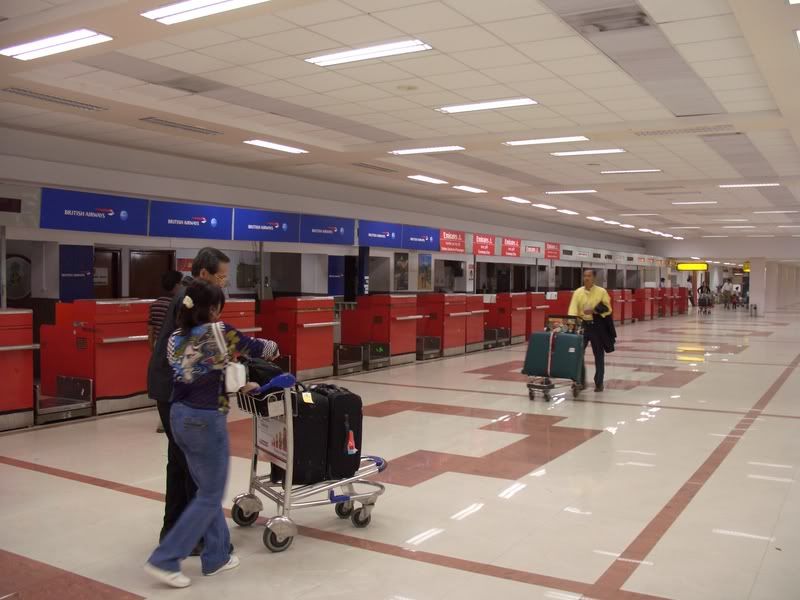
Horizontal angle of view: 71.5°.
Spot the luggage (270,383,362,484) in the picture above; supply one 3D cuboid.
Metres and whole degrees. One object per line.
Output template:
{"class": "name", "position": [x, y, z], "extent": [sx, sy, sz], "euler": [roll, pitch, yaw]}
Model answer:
{"class": "luggage", "position": [-0.706, 0.977, 4.345], "extent": [0.697, 0.630, 0.694], "euler": [0, 1, -15]}

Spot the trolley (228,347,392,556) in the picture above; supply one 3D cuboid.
{"class": "trolley", "position": [-0.632, 1.134, 4.295], "extent": [1.196, 1.089, 0.807], "euler": [3, -8, -31]}

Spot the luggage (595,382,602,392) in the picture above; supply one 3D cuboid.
{"class": "luggage", "position": [3.340, 1.456, 9.216], "extent": [0.075, 0.135, 0.216], "euler": [3, 6, 21]}

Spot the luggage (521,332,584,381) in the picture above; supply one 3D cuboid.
{"class": "luggage", "position": [2.495, 0.804, 8.948], "extent": [0.992, 0.745, 0.788], "euler": [2, -3, 19]}

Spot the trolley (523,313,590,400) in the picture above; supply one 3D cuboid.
{"class": "trolley", "position": [2.464, 0.863, 8.808], "extent": [0.843, 1.040, 0.643], "euler": [5, 0, 38]}

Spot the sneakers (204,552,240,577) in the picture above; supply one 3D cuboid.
{"class": "sneakers", "position": [-1.146, 1.713, 3.605], "extent": [0.073, 0.086, 0.217], "euler": [12, 14, 34]}

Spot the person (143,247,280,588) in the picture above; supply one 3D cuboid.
{"class": "person", "position": [-1.170, 0.807, 3.505], "extent": [0.765, 1.896, 0.468], "euler": [0, 3, -11]}
